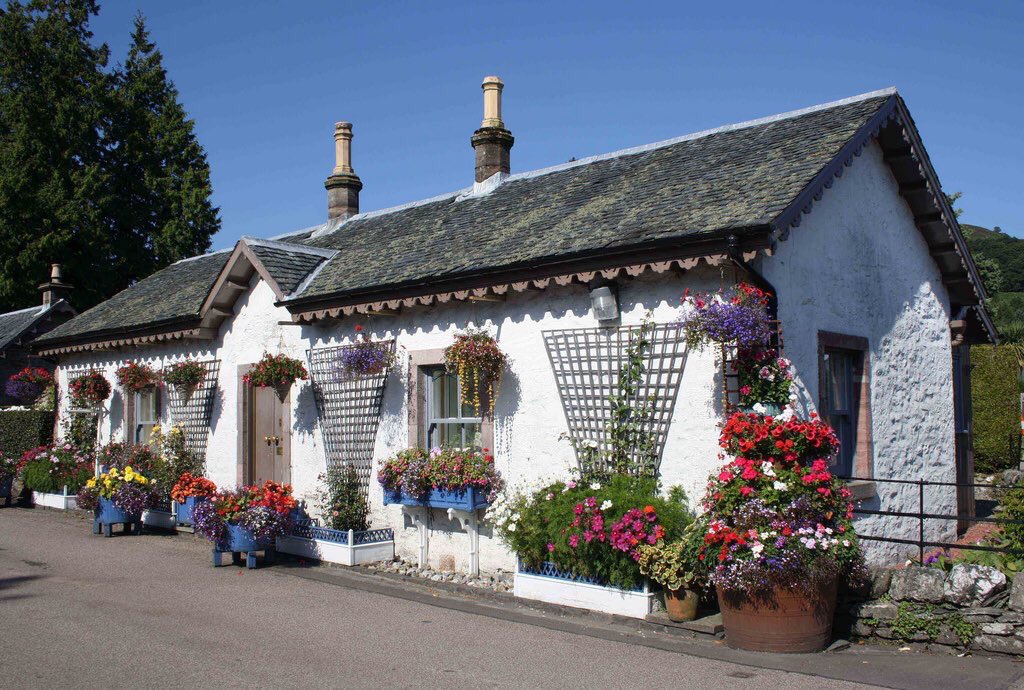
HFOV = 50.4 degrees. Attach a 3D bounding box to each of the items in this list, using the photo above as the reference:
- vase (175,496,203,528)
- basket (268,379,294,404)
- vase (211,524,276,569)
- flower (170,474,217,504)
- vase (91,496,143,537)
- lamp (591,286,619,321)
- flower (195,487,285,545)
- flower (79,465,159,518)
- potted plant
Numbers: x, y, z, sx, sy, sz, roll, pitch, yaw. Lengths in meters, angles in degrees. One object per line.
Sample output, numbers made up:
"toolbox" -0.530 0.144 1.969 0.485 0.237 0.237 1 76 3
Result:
"vase" -5.934 3.046 20.061 0.391 0.687 0.713 10 -14 -41
"basket" -4.399 0.888 20.801 0.382 0.357 0.406 -1 -3 13
"vase" -4.816 3.509 19.503 0.981 0.808 1.000 4 5 31
"flower" -5.877 2.646 20.176 0.704 0.574 0.723 6 -5 -24
"vase" -7.971 3.375 21.944 0.829 0.676 0.879 0 -8 1
"lamp" 1.491 -0.617 17.417 0.457 0.656 0.483 -9 -6 17
"flower" -4.755 2.912 19.121 1.101 0.826 1.137 -4 -6 40
"flower" -8.103 2.921 21.963 1.090 0.841 1.124 -18 -12 -21
"potted plant" 2.815 3.359 16.214 1.114 1.494 1.331 1 -14 -29
